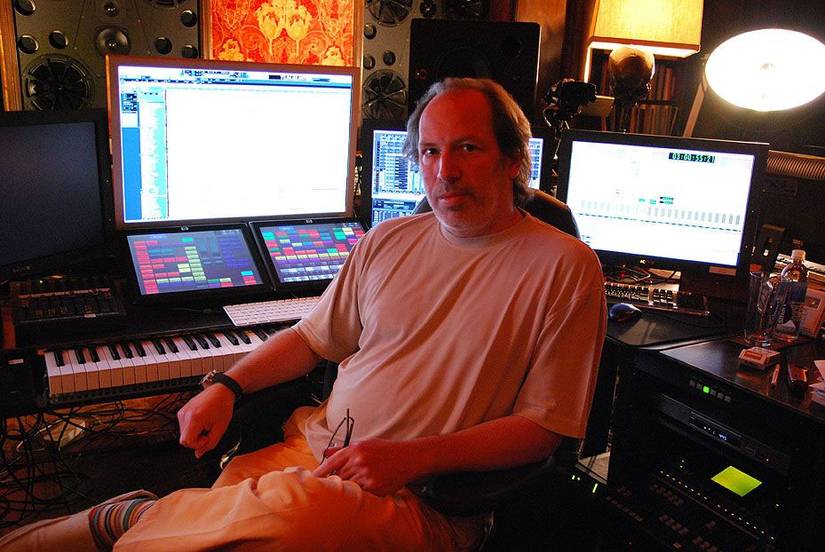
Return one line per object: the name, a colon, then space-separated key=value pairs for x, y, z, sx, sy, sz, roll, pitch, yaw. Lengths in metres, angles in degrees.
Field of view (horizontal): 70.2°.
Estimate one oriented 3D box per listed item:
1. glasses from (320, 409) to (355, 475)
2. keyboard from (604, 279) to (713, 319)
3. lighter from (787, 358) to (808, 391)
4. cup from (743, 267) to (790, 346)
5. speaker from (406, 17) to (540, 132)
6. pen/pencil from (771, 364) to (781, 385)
glasses: x=-0.229 y=0.533 z=1.889 sx=0.045 sy=0.150 sz=0.150 roll=30 pitch=45 yaw=-14
keyboard: x=1.017 y=0.064 z=2.514 sx=0.449 sy=0.161 sz=0.077 roll=11 pitch=36 yaw=35
lighter: x=1.257 y=0.329 z=1.931 sx=0.045 sy=0.046 sz=0.063 roll=23 pitch=62 yaw=1
cup: x=1.293 y=0.121 z=2.175 sx=0.126 sy=0.240 sz=0.186 roll=10 pitch=22 yaw=32
speaker: x=0.253 y=-1.003 z=3.073 sx=0.825 sy=0.696 sz=0.456 roll=2 pitch=18 yaw=2
pen/pencil: x=1.203 y=0.331 z=1.958 sx=0.017 sy=0.015 sz=0.089 roll=48 pitch=42 yaw=8
